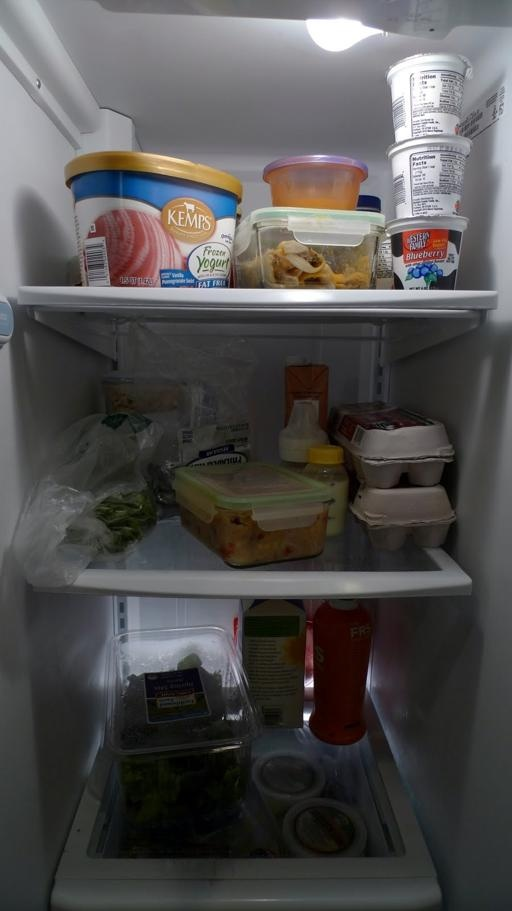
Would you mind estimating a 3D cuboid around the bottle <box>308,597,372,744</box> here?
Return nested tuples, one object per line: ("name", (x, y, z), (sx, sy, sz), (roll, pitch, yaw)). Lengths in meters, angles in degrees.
("bottle", (0.137, 0.349, 1.061), (0.093, 0.267, 0.130), (1, 10, 8))
